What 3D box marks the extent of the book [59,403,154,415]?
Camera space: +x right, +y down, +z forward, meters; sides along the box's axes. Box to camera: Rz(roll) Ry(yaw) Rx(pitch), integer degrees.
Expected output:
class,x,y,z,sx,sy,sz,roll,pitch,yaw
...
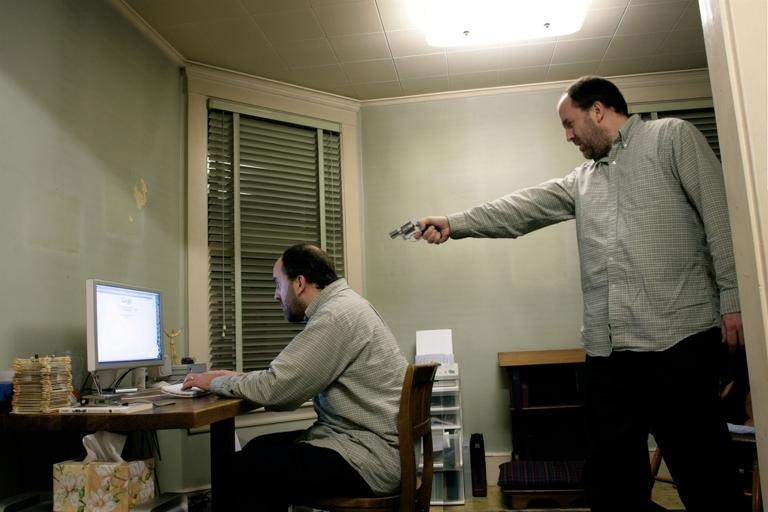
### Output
class,x,y,z,sx,sy,sz,roll,pitch,yaw
book,-1.173,0.644,2.527,0.439,0.037,0.154,-6,-10,12

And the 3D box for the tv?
class,x,y,z,sx,sy,sz,roll,pitch,yaw
tv,-1.391,0.446,3.189,0.176,0.539,0.606,-6,-5,14
